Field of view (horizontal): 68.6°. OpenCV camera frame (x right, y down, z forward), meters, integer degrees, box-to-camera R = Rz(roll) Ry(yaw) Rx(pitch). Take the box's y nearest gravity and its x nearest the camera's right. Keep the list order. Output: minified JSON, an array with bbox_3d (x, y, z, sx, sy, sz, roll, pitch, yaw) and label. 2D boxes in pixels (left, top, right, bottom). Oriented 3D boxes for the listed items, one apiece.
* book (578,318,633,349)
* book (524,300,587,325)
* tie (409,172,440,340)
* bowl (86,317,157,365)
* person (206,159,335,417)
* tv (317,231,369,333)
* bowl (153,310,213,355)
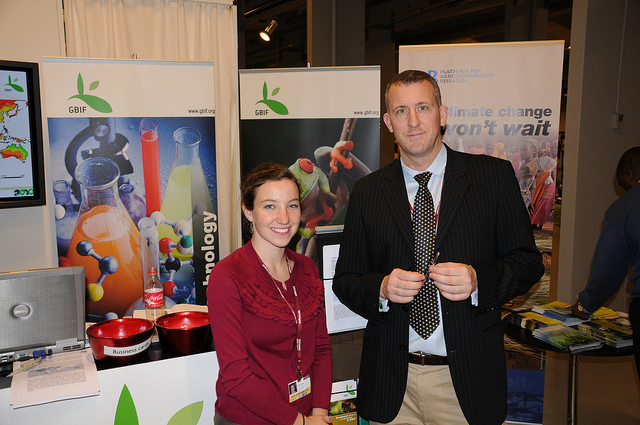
[{"bbox_3d":[2.050,0.862,3.361,0.196,0.048,0.196,-7,16,-36],"label":"book"},{"bbox_3d":[1.821,0.781,3.645,0.229,0.058,0.228,-10,19,-34],"label":"book"},{"bbox_3d":[0.599,0.241,2.731,0.166,0.916,0.300,-1,9,17],"label":"tie"},{"bbox_3d":[-1.245,0.788,2.928,0.287,0.131,0.300,2,7,0],"label":"bowl"},{"bbox_3d":[-0.316,0.469,2.721,0.697,1.465,0.511,-4,9,-1],"label":"person"},{"bbox_3d":[0.178,0.485,3.423,0.422,0.765,0.056,-1,-5,-29],"label":"tv"},{"bbox_3d":[-0.885,0.767,3.035,0.329,0.155,0.341,-1,7,0],"label":"bowl"}]
